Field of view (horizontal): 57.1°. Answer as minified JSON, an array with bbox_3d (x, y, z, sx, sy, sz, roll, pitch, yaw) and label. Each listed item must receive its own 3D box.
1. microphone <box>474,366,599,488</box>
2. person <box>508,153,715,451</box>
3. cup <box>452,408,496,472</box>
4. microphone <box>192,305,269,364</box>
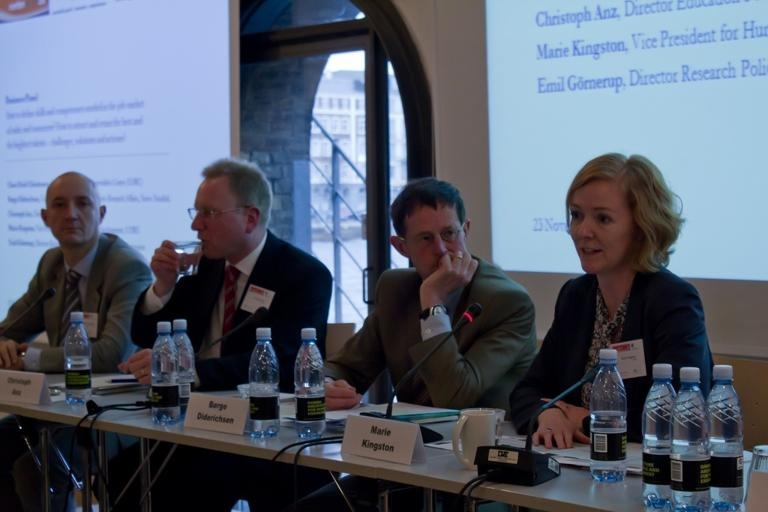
[{"bbox_3d":[0.441,0.495,2.093,0.400,0.310,0.186,2,-5,-38],"label":"microphone"},{"bbox_3d":[0.827,0.205,2.616,0.709,1.067,0.713,7,-5,-34],"label":"person"},{"bbox_3d":[0.253,0.559,2.103,0.100,0.168,0.167,0,-1,37],"label":"cup"},{"bbox_3d":[-0.685,0.360,3.174,0.389,0.067,0.071,-32,-55,24],"label":"microphone"}]
